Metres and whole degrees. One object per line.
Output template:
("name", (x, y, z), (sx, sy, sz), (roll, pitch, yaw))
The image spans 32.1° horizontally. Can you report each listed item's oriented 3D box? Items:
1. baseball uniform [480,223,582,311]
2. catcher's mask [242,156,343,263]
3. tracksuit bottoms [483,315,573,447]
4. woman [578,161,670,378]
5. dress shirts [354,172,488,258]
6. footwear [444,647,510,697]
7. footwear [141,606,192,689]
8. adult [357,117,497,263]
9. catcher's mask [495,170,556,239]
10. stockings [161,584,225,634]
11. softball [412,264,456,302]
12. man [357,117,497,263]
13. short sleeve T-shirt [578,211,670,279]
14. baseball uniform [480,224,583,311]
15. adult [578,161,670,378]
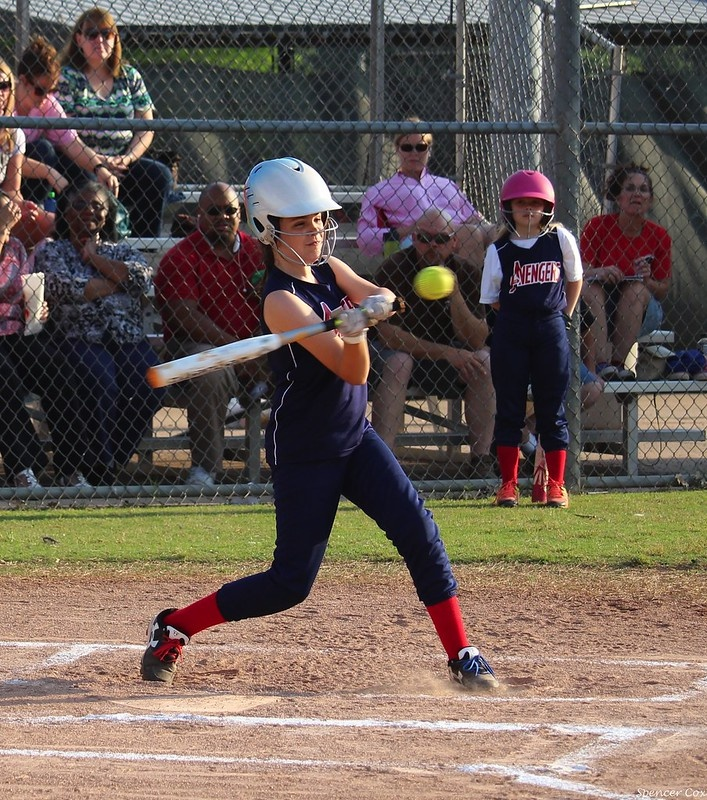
("baseball uniform", (0.745, -0.552, 5.151), (0.469, 0.331, 0.218), (-4, 9, 2))
("catcher's mask", (-0.170, -0.540, 3.428), (0.329, 0.254, 0.253), (3, 4, 39))
("tracksuit bottoms", (0.784, -0.037, 5.194), (0.406, 0.681, 0.267), (0, 4, 42))
("woman", (1.322, -0.659, 6.128), (0.432, 1.035, 0.828), (2, 10, 18))
("dress shirts", (0.364, -0.984, 6.300), (0.753, 0.359, 0.331), (-12, 16, -22))
("footwear", (0.317, 0.717, 3.253), (0.078, 0.073, 0.168), (-26, 21, -33))
("footwear", (-0.536, 0.664, 3.346), (0.086, 0.110, 0.233), (32, 22, -35))
("adult", (0.372, -1.001, 6.172), (0.777, 0.683, 1.049), (-10, 17, -4))
("catcher's mask", (0.697, -0.833, 5.142), (0.252, 0.240, 0.285), (0, -1, -3))
("stockings", (-0.429, 0.584, 3.384), (0.236, 0.090, 0.080), (-30, -33, 26))
("softball", (0.272, -0.379, 3.932), (0.160, 0.097, 0.115), (-5, -3, -20))
("man", (0.376, -0.986, 6.168), (0.665, 0.603, 0.949), (-12, 23, -12))
("short sleeve T-shirt", (1.332, -0.818, 6.300), (0.585, 0.329, 0.264), (1, 10, -24))
("baseball uniform", (0.741, -0.551, 5.112), (0.480, 0.334, 0.232), (-1, -14, -1))
("adult", (1.323, -0.659, 6.129), (0.432, 1.035, 0.831), (2, 10, 18))
